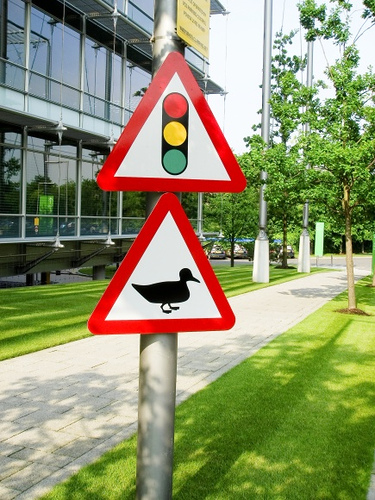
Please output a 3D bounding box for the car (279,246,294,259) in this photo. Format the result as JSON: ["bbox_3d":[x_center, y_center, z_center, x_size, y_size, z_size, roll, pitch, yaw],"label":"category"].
[{"bbox_3d":[9.785,0.154,44.151,0.959,0.813,2.195,1,6,11],"label":"car"}]

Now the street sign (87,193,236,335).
[{"bbox_3d":[-0.070,0.056,1.506,0.538,0.449,0.006,2,-1,-22],"label":"street sign"}]

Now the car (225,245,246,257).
[{"bbox_3d":[4.268,0.176,39.810,0.961,0.747,1.910,-1,5,-9],"label":"car"}]

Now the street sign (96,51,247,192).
[{"bbox_3d":[-0.046,-0.432,1.504,0.549,0.460,0.011,-2,6,-25],"label":"street sign"}]
